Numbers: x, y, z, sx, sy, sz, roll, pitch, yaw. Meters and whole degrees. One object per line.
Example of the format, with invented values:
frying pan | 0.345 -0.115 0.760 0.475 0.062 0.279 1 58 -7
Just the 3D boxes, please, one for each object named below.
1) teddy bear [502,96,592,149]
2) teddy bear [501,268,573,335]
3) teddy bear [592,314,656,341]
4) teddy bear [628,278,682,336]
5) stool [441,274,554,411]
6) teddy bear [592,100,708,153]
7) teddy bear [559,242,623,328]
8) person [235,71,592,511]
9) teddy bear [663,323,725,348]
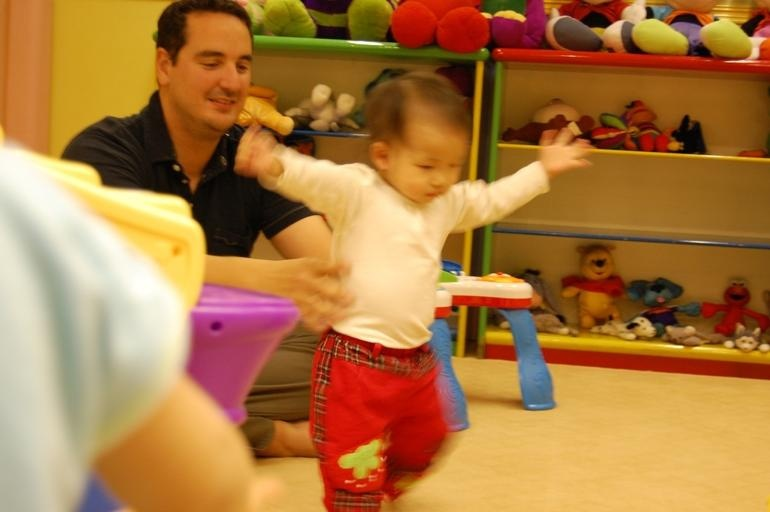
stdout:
teddy bear | 0.668 -0.562 2.626 0.296 0.173 0.210 -22 13 -1
teddy bear | 0.605 0.188 2.480 0.262 0.230 0.137 -8 3 -13
teddy bear | 0.989 0.288 2.575 0.166 0.064 0.103 -1 3 31
teddy bear | 1.152 0.219 2.668 0.204 0.191 0.102 -6 -20 -10
stool | 0.339 0.276 2.185 0.522 0.479 0.190 3 10 16
teddy bear | 1.095 -0.514 2.604 0.385 0.132 0.264 2 3 3
teddy bear | 0.916 0.128 2.750 0.368 0.396 0.214 1 -11 -8
person | 0.039 0.063 1.299 0.674 0.881 0.203 -2 9 -27
teddy bear | 1.258 0.318 2.534 0.244 0.069 0.104 2 8 -3
